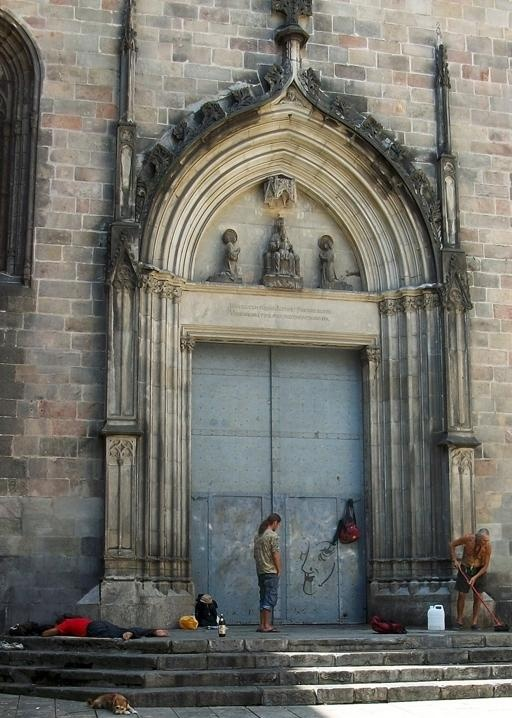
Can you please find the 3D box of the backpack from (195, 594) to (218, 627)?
[{"bbox_3d":[-0.741,3.875,22.567,0.342,0.462,0.188,-1,-14,-16],"label":"backpack"}]

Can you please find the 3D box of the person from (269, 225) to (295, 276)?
[{"bbox_3d":[0.510,-1.827,24.852,0.503,1.006,0.387,0,-12,-7],"label":"person"}]

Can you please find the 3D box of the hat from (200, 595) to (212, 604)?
[{"bbox_3d":[-0.737,3.685,22.553,0.116,0.122,0.160,11,-18,4],"label":"hat"}]

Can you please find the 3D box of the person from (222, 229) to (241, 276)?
[{"bbox_3d":[-0.389,-1.729,24.674,0.305,0.996,0.331,-1,-12,-1],"label":"person"}]

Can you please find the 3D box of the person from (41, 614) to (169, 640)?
[{"bbox_3d":[-2.039,3.647,19.827,1.735,0.360,0.802,-9,-14,30],"label":"person"}]

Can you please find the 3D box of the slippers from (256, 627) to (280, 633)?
[{"bbox_3d":[0.217,3.851,20.808,0.226,0.053,0.125,1,-5,-5],"label":"slippers"}]

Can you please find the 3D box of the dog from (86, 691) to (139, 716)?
[{"bbox_3d":[-1.664,4.019,17.075,0.756,0.251,0.320,-13,-17,43],"label":"dog"}]

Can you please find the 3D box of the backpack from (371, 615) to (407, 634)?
[{"bbox_3d":[1.973,3.830,21.086,0.350,0.134,0.251,9,-6,-16],"label":"backpack"}]

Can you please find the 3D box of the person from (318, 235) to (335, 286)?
[{"bbox_3d":[1.294,-1.656,25.185,0.334,1.029,0.281,2,-13,-16],"label":"person"}]
